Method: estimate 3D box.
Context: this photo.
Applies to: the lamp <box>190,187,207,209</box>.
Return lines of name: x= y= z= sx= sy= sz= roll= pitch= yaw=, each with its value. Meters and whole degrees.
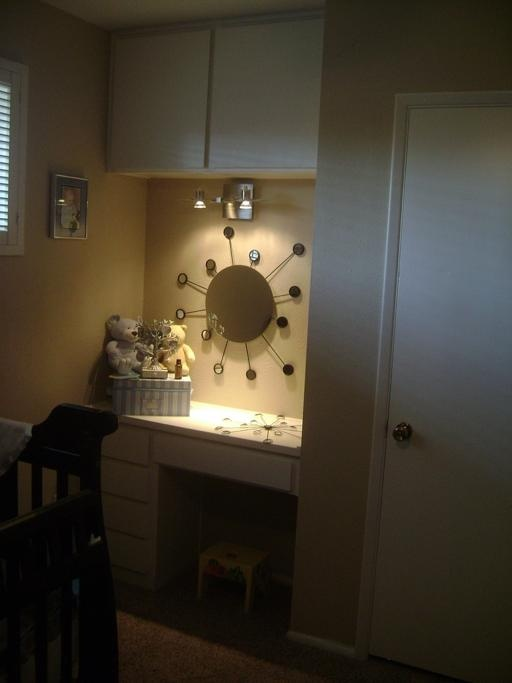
lamp: x=-0.275 y=-0.692 z=2.540 sx=0.068 sy=0.118 sz=0.269 roll=0 pitch=4 yaw=-6

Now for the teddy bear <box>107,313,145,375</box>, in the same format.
teddy bear: x=-0.652 y=0.026 z=2.586 sx=0.142 sy=0.304 sz=0.378 roll=-2 pitch=4 yaw=-40

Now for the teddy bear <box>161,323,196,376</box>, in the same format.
teddy bear: x=-0.392 y=0.049 z=2.605 sx=0.160 sy=0.269 sz=0.315 roll=0 pitch=3 yaw=-5

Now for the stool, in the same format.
stool: x=-0.099 y=1.063 z=2.410 sx=0.294 sy=0.211 sz=0.257 roll=2 pitch=4 yaw=22

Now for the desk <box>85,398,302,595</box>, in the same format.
desk: x=-0.210 y=0.750 z=2.422 sx=1.005 sy=0.811 sz=0.436 roll=2 pitch=4 yaw=26
